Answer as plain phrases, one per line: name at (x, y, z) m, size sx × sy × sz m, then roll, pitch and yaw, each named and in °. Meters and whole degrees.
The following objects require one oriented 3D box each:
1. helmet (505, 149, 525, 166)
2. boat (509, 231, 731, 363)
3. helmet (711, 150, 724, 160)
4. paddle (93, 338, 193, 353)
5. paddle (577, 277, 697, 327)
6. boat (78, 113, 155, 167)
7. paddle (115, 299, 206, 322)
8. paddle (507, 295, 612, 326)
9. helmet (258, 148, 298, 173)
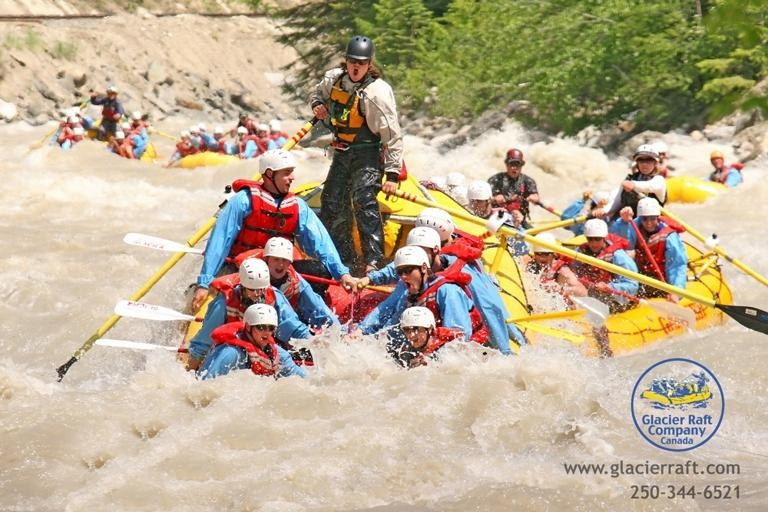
helmet at (2.397, -1.778, 20.350) m, size 0.275 × 0.249 × 0.327 m, roll 5°, pitch 22°, yaw 4°
boat at (4.088, 0.698, 17.511) m, size 3.249 × 0.594 × 1.795 m, roll -8°, pitch 33°, yaw -23°
helmet at (7.175, -2.150, 24.014) m, size 0.333 × 0.226 × 0.454 m, roll 1°, pitch 8°, yaw 8°
paddle at (-3.599, 1.361, 16.706) m, size 1.696 × 0.056 × 0.163 m, roll 6°, pitch 21°, yaw -6°
paddle at (3.869, 0.620, 17.388) m, size 0.130 × 0.364 × 2.751 m, roll 9°, pitch 5°, yaw -30°
boat at (-6.893, -3.026, 27.923) m, size 1.220 × 0.494 × 1.371 m, roll -21°, pitch 58°, yaw -30°
paddle at (-3.350, 0.847, 16.728) m, size 1.335 × 0.059 × 0.249 m, roll 12°, pitch 51°, yaw -1°
paddle at (2.497, 0.827, 15.671) m, size 1.267 × 0.055 × 0.512 m, roll -10°, pitch 32°, yaw 1°
helmet at (-1.557, -1.406, 16.365) m, size 0.471 × 0.242 × 0.345 m, roll 7°, pitch 13°, yaw 5°
